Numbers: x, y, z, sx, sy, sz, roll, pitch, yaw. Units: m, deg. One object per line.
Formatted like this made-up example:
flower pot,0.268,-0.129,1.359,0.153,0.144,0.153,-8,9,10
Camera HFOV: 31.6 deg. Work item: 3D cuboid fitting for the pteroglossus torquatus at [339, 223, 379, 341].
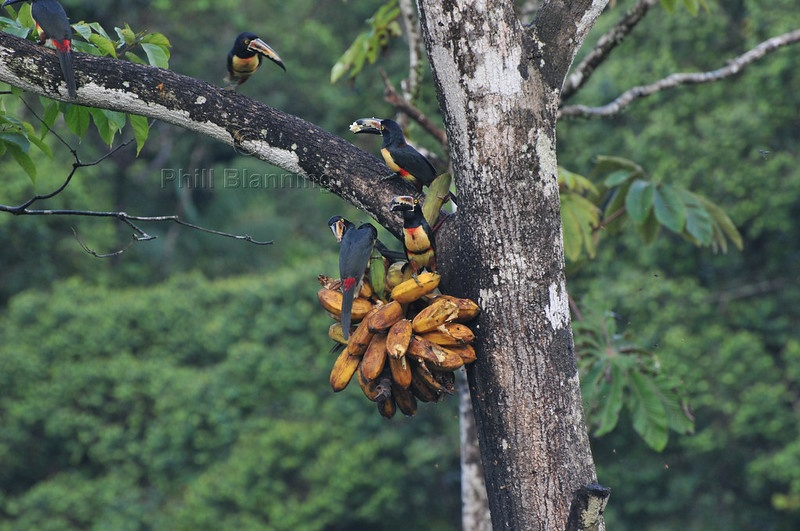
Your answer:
pteroglossus torquatus,-0.518,0.205,16.753,0.389,1.410,0.416,-10,-20,38
